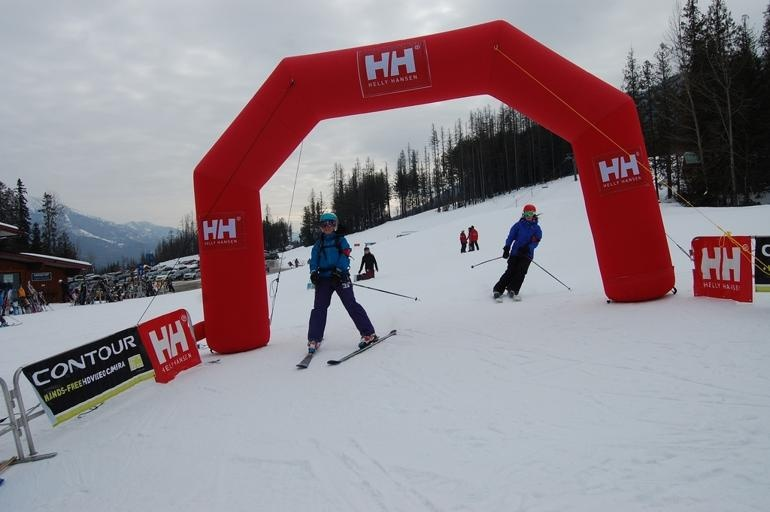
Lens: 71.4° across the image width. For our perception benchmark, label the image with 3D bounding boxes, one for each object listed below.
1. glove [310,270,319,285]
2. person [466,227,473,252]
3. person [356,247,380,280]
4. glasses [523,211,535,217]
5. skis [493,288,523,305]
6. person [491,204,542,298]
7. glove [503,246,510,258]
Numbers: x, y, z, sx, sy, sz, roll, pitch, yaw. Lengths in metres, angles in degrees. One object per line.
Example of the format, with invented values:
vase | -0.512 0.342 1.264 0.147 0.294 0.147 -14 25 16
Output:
glove | -1.206 0.378 9.174 0.148 0.187 0.186 -8 4 -9
person | 3.692 -0.704 22.752 0.282 1.031 0.805 -7 4 5
person | -0.701 0.341 22.525 0.998 2.139 0.571 -4 5 0
glasses | 2.980 -0.887 11.073 0.143 0.187 0.171 0 1 29
skis | 2.519 0.858 10.984 0.680 0.303 0.235 -1 6 17
person | 2.783 -0.065 11.271 1.058 1.923 1.465 -6 4 16
glove | 2.509 -0.066 11.027 0.158 0.268 0.540 -6 5 13
